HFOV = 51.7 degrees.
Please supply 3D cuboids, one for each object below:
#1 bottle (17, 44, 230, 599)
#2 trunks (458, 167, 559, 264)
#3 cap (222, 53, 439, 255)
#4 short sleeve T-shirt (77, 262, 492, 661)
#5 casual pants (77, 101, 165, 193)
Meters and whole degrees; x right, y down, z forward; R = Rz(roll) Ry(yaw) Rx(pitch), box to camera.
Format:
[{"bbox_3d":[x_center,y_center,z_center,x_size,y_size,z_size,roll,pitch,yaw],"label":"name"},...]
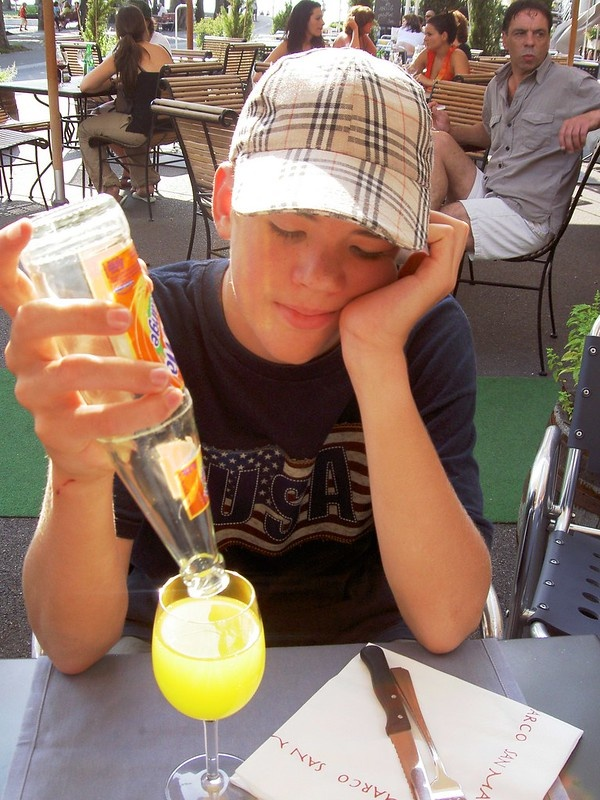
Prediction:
[{"bbox_3d":[-0.180,0.008,0.649,0.258,0.417,0.139,21,33,33],"label":"bottle"},{"bbox_3d":[1.301,-1.067,3.891,0.552,0.372,0.234,20,20,4],"label":"trunks"},{"bbox_3d":[0.050,-0.380,0.961,0.251,0.186,0.366,7,28,-6],"label":"cap"},{"bbox_3d":[-0.015,0.095,0.970,0.645,0.624,0.359,-3,17,-9],"label":"short sleeve T-shirt"},{"bbox_3d":[-1.981,-2.692,6.653,0.832,0.875,0.803,22,40,28],"label":"casual pants"}]
